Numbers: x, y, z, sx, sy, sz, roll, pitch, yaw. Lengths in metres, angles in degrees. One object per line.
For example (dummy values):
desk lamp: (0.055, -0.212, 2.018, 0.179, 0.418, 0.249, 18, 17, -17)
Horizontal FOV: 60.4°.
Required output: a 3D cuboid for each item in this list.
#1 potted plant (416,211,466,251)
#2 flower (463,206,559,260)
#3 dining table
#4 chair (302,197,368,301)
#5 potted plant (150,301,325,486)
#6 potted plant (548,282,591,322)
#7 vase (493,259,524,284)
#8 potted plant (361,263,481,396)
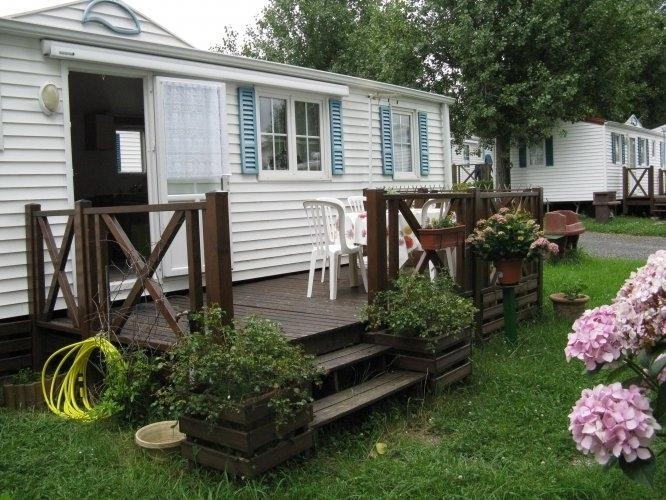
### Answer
potted plant: (1.038, -0.156, 5.413, 0.245, 0.336, 0.567, 5, 11, 40)
flower: (1.753, -0.153, 5.594, 0.575, 0.442, 0.579, -8, 11, -36)
dining table: (0.741, -0.061, 6.294, 0.878, 0.548, 0.859, -4, -5, 43)
chair: (0.020, -0.092, 6.694, 0.689, 1.122, 1.708, -2, 9, -2)
potted plant: (-0.610, 0.889, 3.711, 0.935, 0.997, 0.649, 0, 8, 14)
potted plant: (2.795, 0.601, 6.765, 0.477, 0.513, 0.524, -1, 1, -7)
vase: (1.774, 0.214, 5.733, 0.240, 0.224, 0.260, 0, -4, -3)
potted plant: (0.749, 0.571, 5.104, 0.848, 0.959, 0.893, -10, 12, -40)
